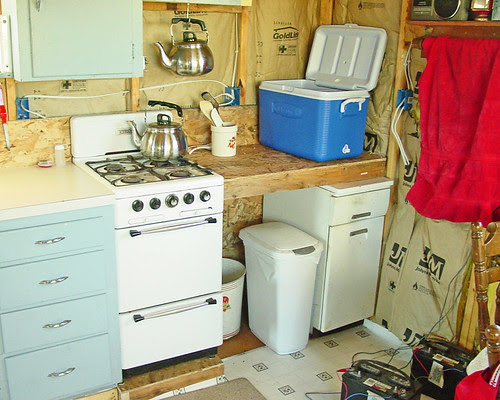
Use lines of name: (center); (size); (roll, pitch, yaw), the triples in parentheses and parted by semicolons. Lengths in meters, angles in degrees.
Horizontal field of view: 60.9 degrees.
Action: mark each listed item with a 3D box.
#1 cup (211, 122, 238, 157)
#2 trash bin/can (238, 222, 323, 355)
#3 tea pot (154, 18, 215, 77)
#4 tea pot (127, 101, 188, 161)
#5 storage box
cup: (-0.170, -0.378, 2.764); (0.166, 0.204, 0.090); (-3, 23, -5)
trash bin/can: (0.205, 0.580, 2.866); (0.384, 0.746, 0.511); (-15, 26, -29)
tea pot: (-0.406, -0.940, 2.629); (0.381, 0.316, 0.291); (-22, 43, -31)
tea pot: (-0.543, -0.408, 2.529); (0.381, 0.322, 0.255); (5, 23, 12)
storage box: (0.494, -0.751, 2.938); (0.699, 0.802, 0.719); (-11, 28, -20)
